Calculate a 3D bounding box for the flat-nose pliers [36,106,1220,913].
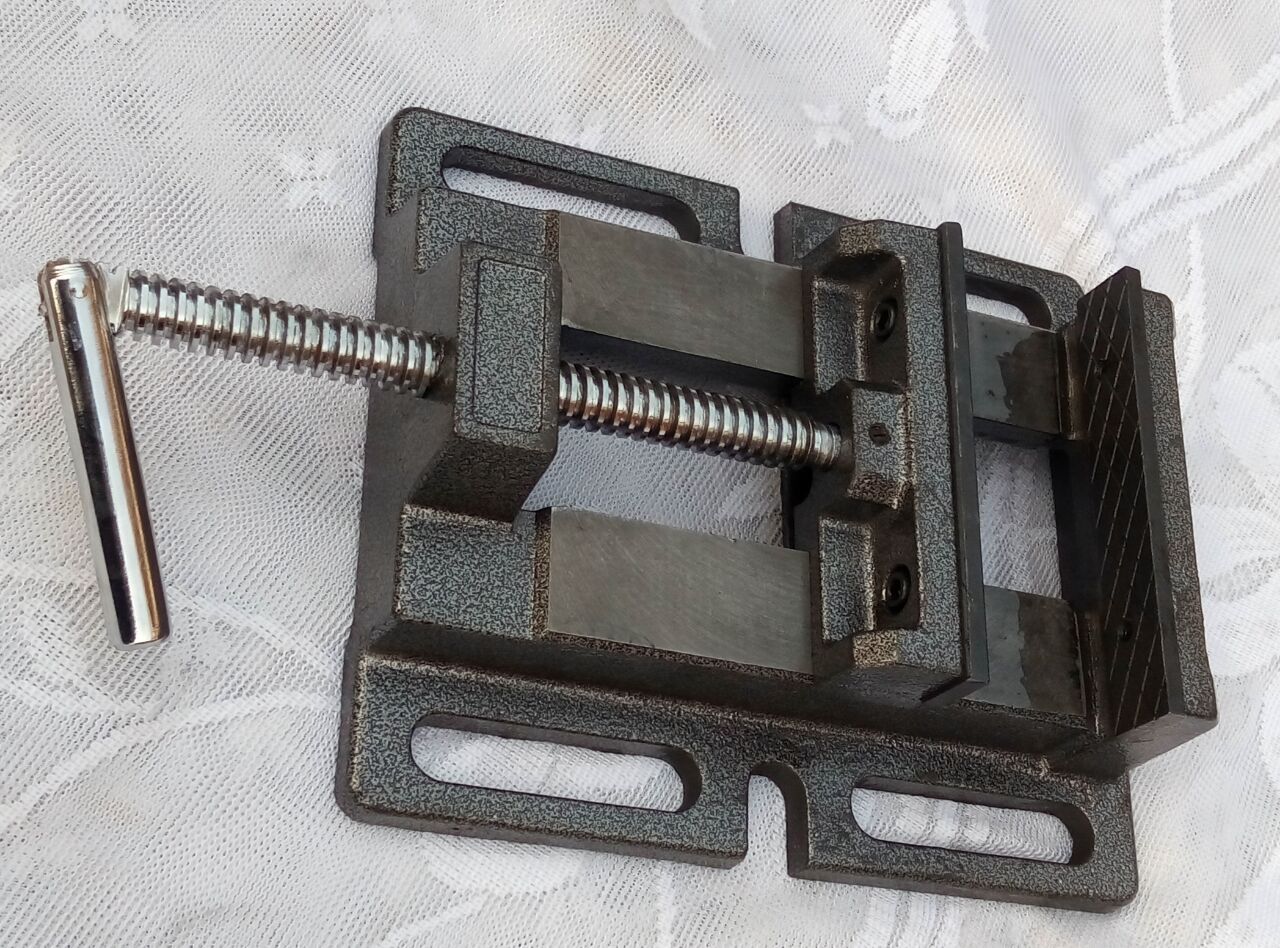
[{"bbox_3d":[0.010,0.000,1.152,0.735,0.318,0.383,17,37,-10],"label":"flat-nose pliers"}]
